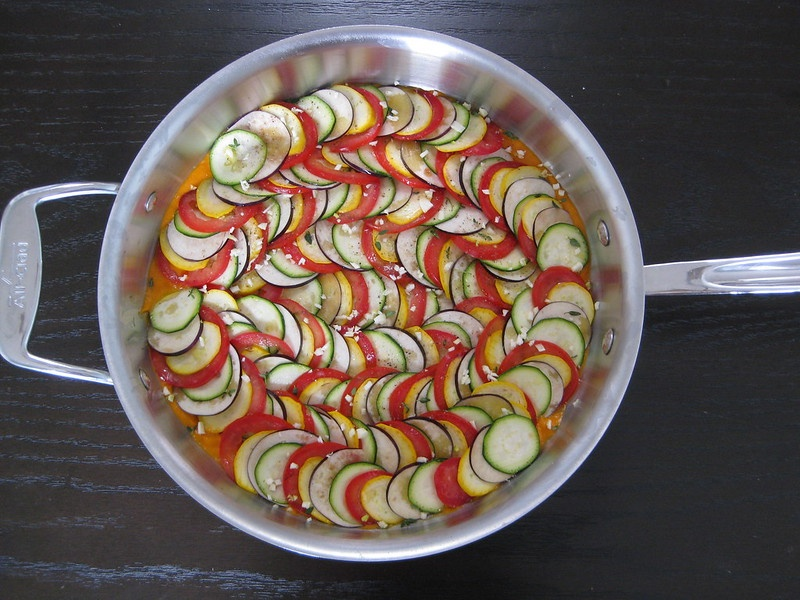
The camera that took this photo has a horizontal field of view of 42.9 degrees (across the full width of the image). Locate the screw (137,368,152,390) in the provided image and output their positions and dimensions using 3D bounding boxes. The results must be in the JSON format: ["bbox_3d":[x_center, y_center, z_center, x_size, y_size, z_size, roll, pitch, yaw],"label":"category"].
[{"bbox_3d":[-0.964,0.296,3.839,0.018,0.073,0.063,-17,90,-1],"label":"screw"}]
